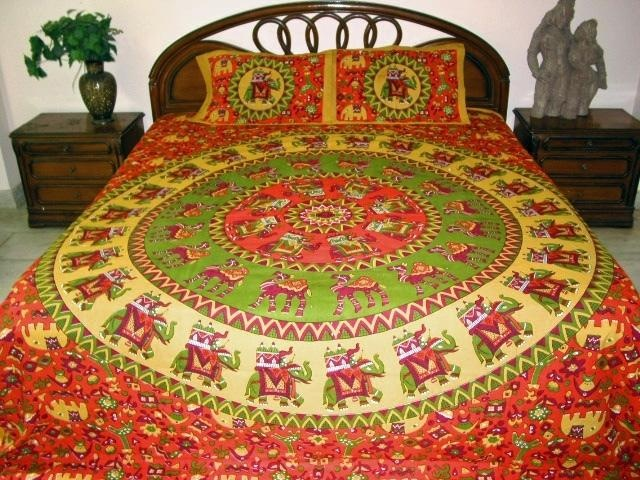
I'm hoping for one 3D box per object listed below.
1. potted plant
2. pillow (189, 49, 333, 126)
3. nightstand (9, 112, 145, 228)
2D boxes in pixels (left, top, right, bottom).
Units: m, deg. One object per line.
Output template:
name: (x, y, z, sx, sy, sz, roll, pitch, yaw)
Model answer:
potted plant: (-2.004, -1.406, 3.854, 0.835, 0.626, 0.690, -17, 32, -29)
pillow: (-0.422, -1.187, 3.656, 1.109, 0.416, 0.121, 1, 5, 3)
nightstand: (-1.921, -0.587, 4.133, 1.152, 0.773, 0.675, 1, 23, 13)
